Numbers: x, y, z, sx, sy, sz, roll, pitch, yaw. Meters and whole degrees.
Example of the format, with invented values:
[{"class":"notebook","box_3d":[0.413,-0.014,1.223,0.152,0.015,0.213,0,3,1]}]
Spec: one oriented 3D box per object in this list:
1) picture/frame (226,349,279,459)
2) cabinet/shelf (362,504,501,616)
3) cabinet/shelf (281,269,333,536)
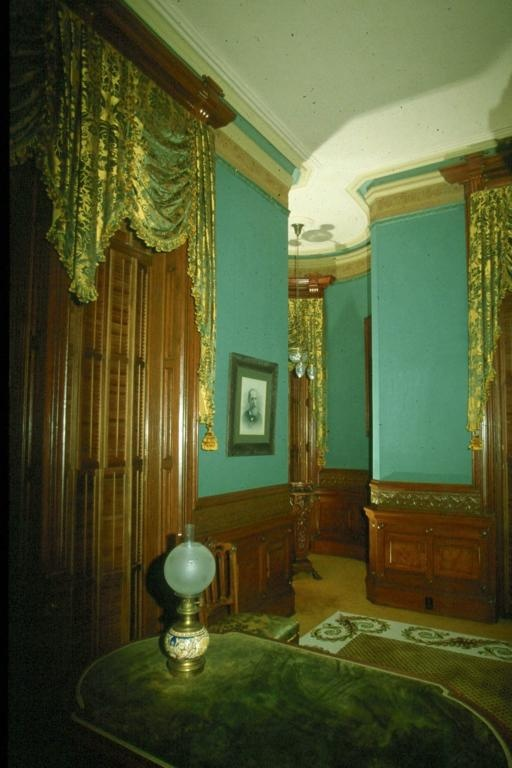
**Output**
[{"class":"picture/frame","box_3d":[-0.049,0.162,4.693,0.065,0.876,0.848,-1,-6,31]},{"class":"cabinet/shelf","box_3d":[1.769,1.602,5.743,1.425,1.138,0.821,-4,-12,26]},{"class":"cabinet/shelf","box_3d":[0.731,0.089,7.766,0.623,3.619,1.595,-1,-2,7]}]
